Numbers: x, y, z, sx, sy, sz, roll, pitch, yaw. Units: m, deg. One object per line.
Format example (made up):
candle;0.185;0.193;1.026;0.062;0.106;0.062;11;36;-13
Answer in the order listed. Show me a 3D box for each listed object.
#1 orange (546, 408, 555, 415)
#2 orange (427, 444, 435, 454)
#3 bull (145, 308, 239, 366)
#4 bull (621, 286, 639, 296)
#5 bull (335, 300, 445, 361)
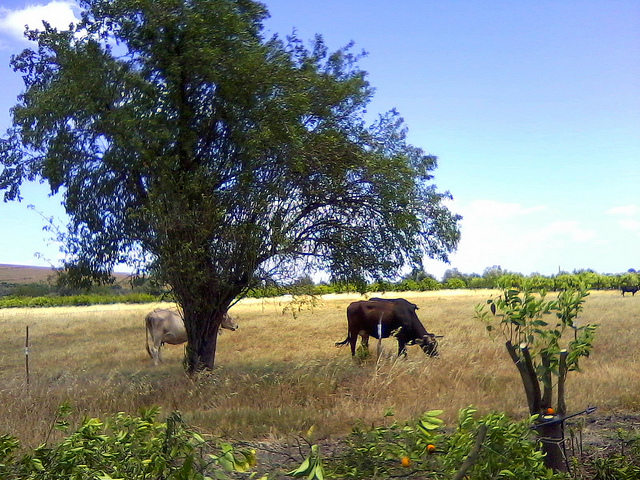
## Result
orange;2.862;2.140;6.792;0.086;0.070;0.224;-4;-5;26
orange;0.990;1.898;4.934;0.058;0.053;0.061;16;-54;-21
bull;-5.504;3.986;22.767;3.971;2.199;1.120;3;-3;-39
bull;30.455;4.987;53.601;1.220;0.779;2.286;-5;-6;35
bull;2.237;2.964;18.326;1.476;1.758;3.598;2;-5;-33
